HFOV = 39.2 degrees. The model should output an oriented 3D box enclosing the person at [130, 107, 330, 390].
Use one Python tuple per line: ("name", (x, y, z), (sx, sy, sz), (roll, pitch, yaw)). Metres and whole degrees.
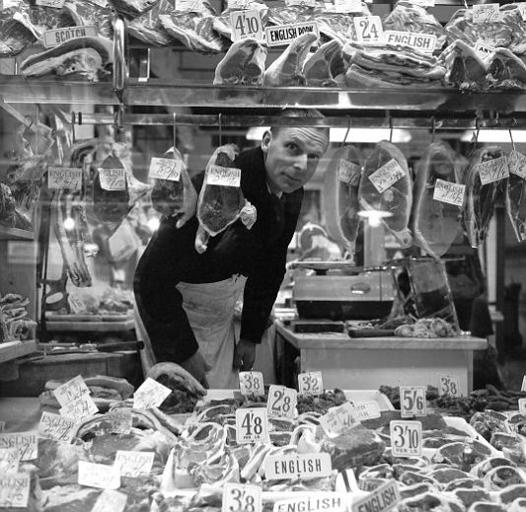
("person", (-0.144, -0.008, 3.027), (0.767, 1.199, 0.246), (2, 13, -1))
